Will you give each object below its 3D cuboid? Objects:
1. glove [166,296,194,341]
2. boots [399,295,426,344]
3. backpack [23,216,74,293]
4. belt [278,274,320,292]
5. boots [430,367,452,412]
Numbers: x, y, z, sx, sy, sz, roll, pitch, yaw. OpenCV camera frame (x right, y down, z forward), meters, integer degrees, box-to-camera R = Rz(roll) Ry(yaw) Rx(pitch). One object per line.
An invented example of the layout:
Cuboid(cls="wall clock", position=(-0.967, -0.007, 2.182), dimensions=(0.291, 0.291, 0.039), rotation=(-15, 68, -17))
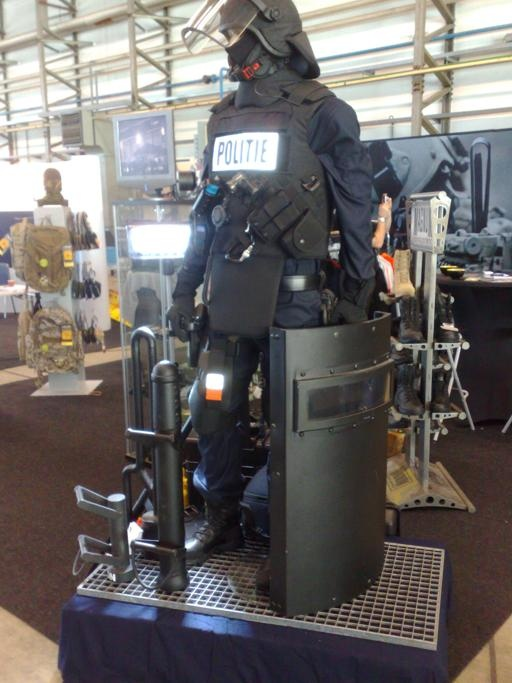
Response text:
Cuboid(cls="glove", position=(-0.224, -0.072, 1.772), dimensions=(0.057, 0.124, 0.093), rotation=(0, 40, -4))
Cuboid(cls="boots", position=(0.691, -0.101, 2.562), dimensions=(0.103, 0.192, 0.206), rotation=(2, 10, 12))
Cuboid(cls="backpack", position=(-1.592, -0.622, 4.430), dimensions=(0.373, 0.520, 0.231), rotation=(-3, 11, -16))
Cuboid(cls="belt", position=(0.124, -0.157, 1.584), dimensions=(0.133, 0.047, 0.033), rotation=(-9, 14, -42))
Cuboid(cls="boots", position=(0.836, 0.214, 2.619), dimensions=(0.087, 0.171, 0.244), rotation=(-3, 12, 14))
